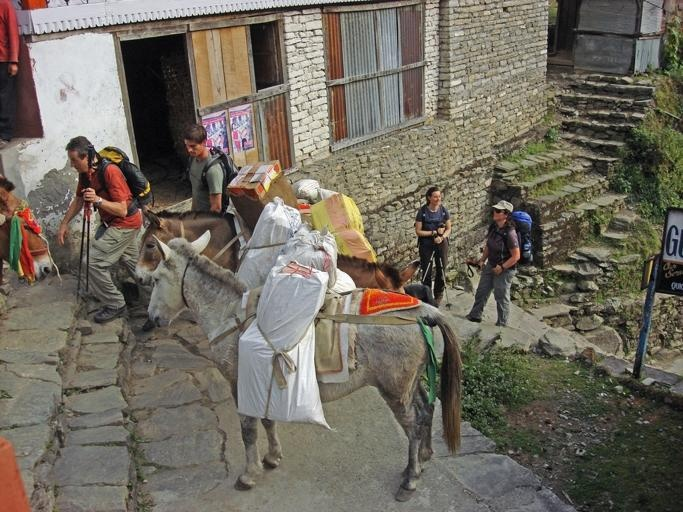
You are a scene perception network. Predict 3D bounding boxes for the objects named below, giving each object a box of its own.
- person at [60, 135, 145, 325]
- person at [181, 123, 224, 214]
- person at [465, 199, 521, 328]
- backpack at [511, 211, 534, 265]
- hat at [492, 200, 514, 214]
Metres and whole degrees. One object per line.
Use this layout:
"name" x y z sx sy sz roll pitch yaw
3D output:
"person" -3.170 -0.384 7.145 0.944 2.406 0.744 -12 19 -29
"person" -1.869 -1.174 7.258 0.434 1.166 0.871 -11 19 -27
"person" 2.611 0.163 9.019 0.810 2.245 0.570 9 20 32
"backpack" 3.005 -0.264 8.881 0.354 0.949 0.528 4 18 18
"hat" 2.610 -0.775 8.599 0.277 0.195 0.243 1 19 11
